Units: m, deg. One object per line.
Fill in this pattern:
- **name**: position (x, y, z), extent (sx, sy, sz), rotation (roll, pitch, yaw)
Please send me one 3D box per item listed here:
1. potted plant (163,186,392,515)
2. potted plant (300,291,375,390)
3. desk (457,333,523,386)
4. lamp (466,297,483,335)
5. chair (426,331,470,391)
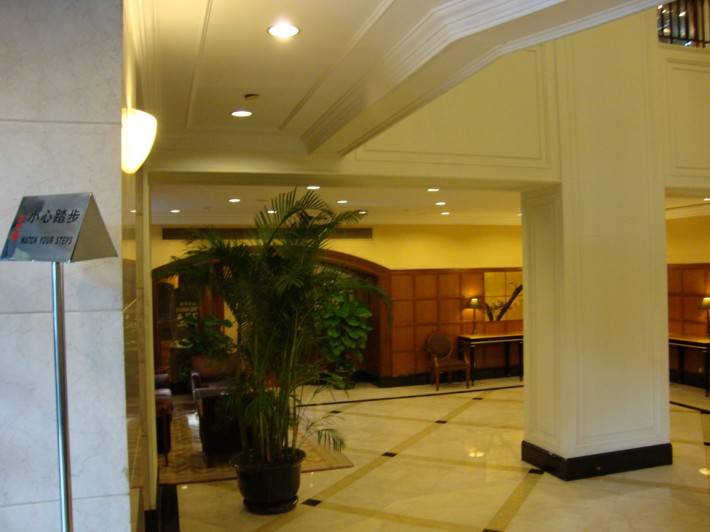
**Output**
- **potted plant**: position (-0.755, 0.824, 5.139), extent (1.481, 2.490, 0.794), rotation (-2, 0, 4)
- **potted plant**: position (-0.206, 1.366, 11.044), extent (0.898, 1.511, 0.891), rotation (3, -21, -29)
- **desk**: position (2.700, 1.911, 11.333), extent (1.214, 0.881, 0.627), rotation (0, -3, -19)
- **lamp**: position (2.518, 1.012, 11.625), extent (0.239, 0.758, 0.410), rotation (-2, -1, 19)
- **chair**: position (1.792, 1.831, 10.846), extent (0.782, 1.099, 0.821), rotation (-1, -5, 3)
